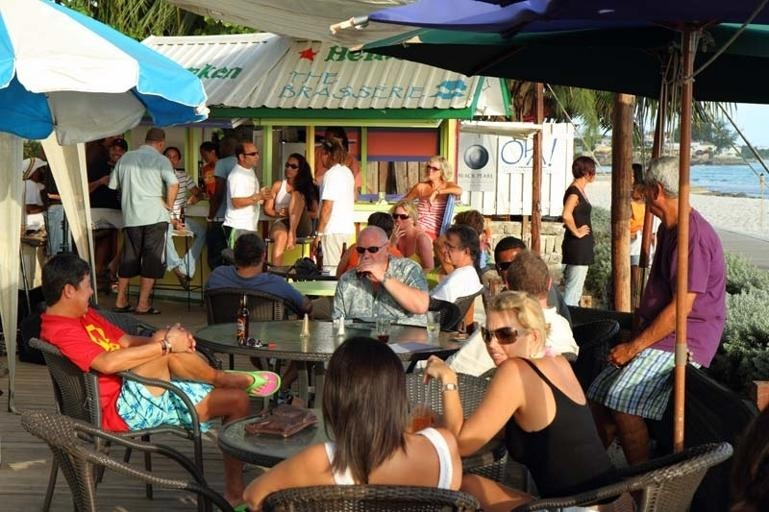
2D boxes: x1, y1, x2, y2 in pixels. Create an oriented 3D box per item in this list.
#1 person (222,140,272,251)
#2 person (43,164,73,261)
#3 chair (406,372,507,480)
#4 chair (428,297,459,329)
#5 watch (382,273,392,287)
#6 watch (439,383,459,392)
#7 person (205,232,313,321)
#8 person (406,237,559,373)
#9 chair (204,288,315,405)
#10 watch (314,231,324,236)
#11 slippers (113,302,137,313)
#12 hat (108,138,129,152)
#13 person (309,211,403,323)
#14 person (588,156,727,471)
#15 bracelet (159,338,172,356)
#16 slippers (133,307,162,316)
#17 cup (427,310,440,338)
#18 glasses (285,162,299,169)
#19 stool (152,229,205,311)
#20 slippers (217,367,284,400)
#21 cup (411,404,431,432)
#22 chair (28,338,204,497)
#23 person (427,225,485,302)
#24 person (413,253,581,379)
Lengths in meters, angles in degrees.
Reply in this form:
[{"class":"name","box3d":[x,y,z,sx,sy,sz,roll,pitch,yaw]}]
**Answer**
[{"class":"person","box3d":[-1.814,-0.757,11.160,0.482,1.636,0.627,0,37,-7]},{"class":"person","box3d":[-4.465,-0.594,11.793,0.361,1.118,0.793,-1,6,-22]},{"class":"chair","box3d":[0.456,1.006,5.373,0.613,0.763,0.723,0,-11,0]},{"class":"chair","box3d":[0.492,0.485,7.340,0.199,0.262,0.252,-2,6,-31]},{"class":"watch","box3d":[0.016,0.188,6.886,0.058,0.094,0.094,17,26,8]},{"class":"watch","box3d":[0.384,0.750,4.954,0.080,0.037,0.088,-2,-11,-4]},{"class":"person","box3d":[-1.194,0.192,7.831,0.939,0.901,0.566,1,21,-2]},{"class":"person","box3d":[0.953,0.425,6.197,0.862,0.800,0.623,5,0,-11]},{"class":"chair","box3d":[-1.122,0.686,7.885,0.713,1.060,0.738,-3,16,7]},{"class":"watch","box3d":[-0.791,-0.280,10.570,0.079,0.063,0.087,-1,4,-19]},{"class":"slippers","box3d":[-3.437,0.695,11.407,0.401,0.157,0.166,0,1,4]},{"class":"hat","box3d":[-3.912,-1.601,12.558,0.170,0.248,0.235,-4,11,-7]},{"class":"person","box3d":[-0.255,0.292,8.851,0.551,1.647,0.525,0,47,-18]},{"class":"person","box3d":[1.891,0.548,6.048,0.817,2.478,0.853,7,1,-36]},{"class":"bracelet","box3d":[-1.504,0.621,5.896,0.068,0.084,0.078,-5,14,-15]},{"class":"slippers","box3d":[-3.166,0.712,11.397,0.319,0.104,0.133,0,3,-10]},{"class":"cup","box3d":[0.379,0.523,6.715,0.139,0.260,0.152,2,2,0]},{"class":"glasses","box3d":[-1.224,-1.173,11.197,0.189,0.078,0.095,5,7,30]},{"class":"stool","box3d":[-3.044,0.113,12.311,0.720,1.221,0.743,0,2,3]},{"class":"slippers","box3d":[-0.970,0.931,6.236,0.484,0.231,0.143,0,2,3]},{"class":"cup","box3d":[0.203,0.892,4.767,0.104,0.199,0.110,0,-2,0]},{"class":"chair","box3d":[-1.708,1.414,5.951,0.925,1.279,0.882,4,20,-5]},{"class":"person","box3d":[0.718,0.083,7.806,0.380,0.704,0.708,7,2,18]},{"class":"person","box3d":[0.933,0.442,6.174,0.804,1.024,0.817,8,7,-3]}]
